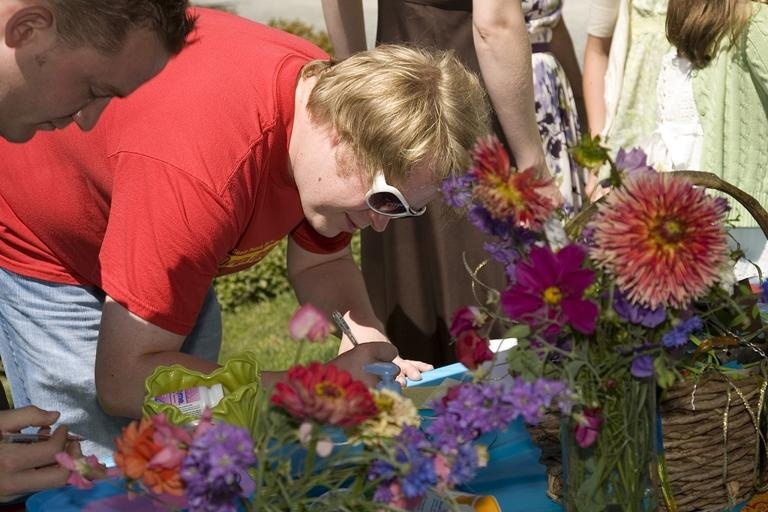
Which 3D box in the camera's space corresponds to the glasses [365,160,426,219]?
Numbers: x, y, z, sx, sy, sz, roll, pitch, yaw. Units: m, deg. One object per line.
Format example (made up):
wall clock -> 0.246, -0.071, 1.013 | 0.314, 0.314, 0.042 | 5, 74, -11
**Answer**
glasses -> 0.018, -0.151, 1.745 | 0.032, 0.103, 0.101 | -27, -31, 24
